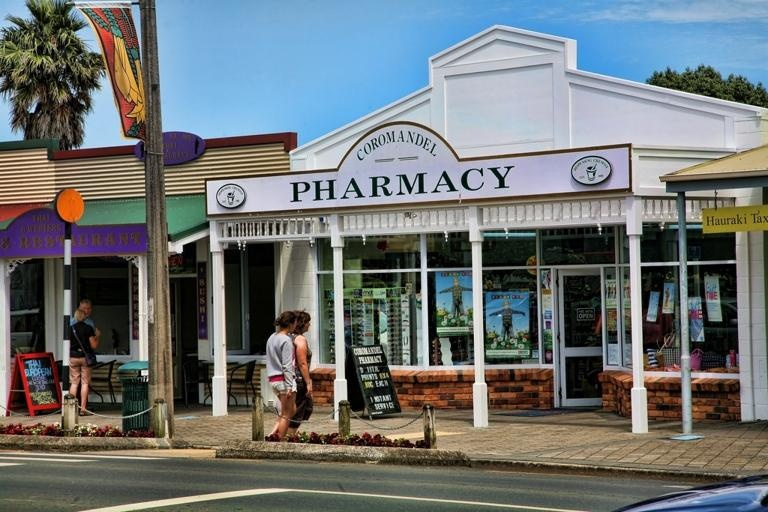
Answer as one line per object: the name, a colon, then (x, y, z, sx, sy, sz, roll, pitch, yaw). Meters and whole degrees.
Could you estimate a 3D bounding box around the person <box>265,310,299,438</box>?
person: (-1.906, 2.243, 22.867, 0.546, 2.420, 0.845, -1, -5, -5)

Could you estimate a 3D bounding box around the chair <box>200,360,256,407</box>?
chair: (-3.579, 2.952, 28.507, 1.221, 1.107, 0.733, -1, -12, 9)

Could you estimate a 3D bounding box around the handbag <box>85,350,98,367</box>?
handbag: (-6.660, 2.344, 27.724, 0.233, 0.294, 0.094, 14, -37, -33)

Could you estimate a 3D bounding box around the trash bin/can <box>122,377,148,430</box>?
trash bin/can: (-5.028, 3.005, 24.798, 0.611, 1.072, 0.330, -2, -5, 3)

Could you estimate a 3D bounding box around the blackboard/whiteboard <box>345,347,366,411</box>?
blackboard/whiteboard: (-0.639, 2.686, 26.624, 0.404, 1.401, 0.657, -1, -5, -2)

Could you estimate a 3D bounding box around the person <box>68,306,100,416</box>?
person: (-6.843, 2.298, 27.818, 0.583, 2.607, 0.860, 0, -6, -13)
